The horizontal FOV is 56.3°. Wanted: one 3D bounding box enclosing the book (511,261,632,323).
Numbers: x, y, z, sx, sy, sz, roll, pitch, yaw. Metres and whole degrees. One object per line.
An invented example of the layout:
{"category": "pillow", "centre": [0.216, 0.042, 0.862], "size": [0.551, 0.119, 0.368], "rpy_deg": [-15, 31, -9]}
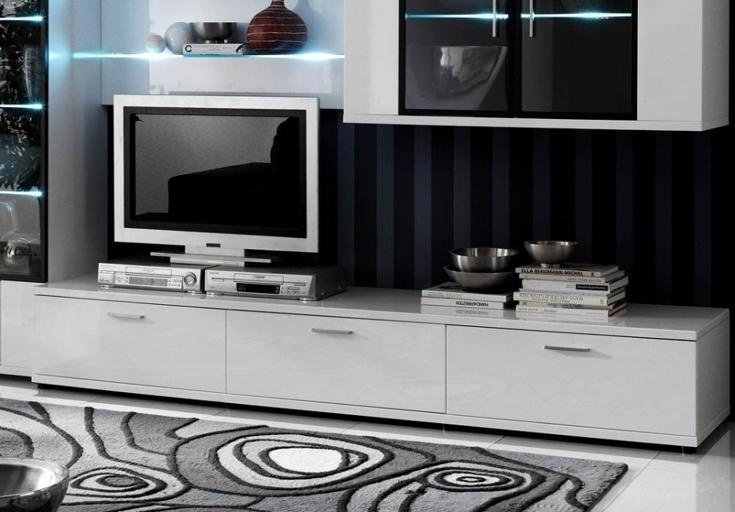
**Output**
{"category": "book", "centre": [0.953, 0.152, 3.258], "size": [0.397, 0.171, 0.294], "rpy_deg": [4, 9, 29]}

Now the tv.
{"category": "tv", "centre": [-0.818, -0.454, 3.852], "size": [1.094, 0.685, 0.108], "rpy_deg": [3, 8, 17]}
